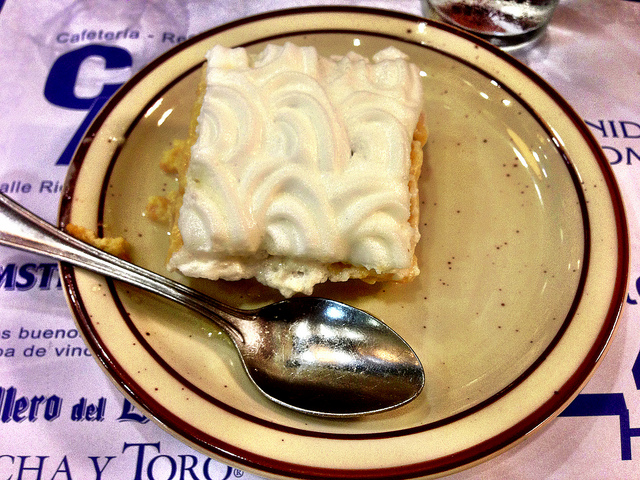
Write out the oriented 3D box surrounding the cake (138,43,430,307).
[{"bbox_3d":[-0.059,-0.227,2.116,0.748,0.200,0.803,4,85,1],"label":"cake"}]
